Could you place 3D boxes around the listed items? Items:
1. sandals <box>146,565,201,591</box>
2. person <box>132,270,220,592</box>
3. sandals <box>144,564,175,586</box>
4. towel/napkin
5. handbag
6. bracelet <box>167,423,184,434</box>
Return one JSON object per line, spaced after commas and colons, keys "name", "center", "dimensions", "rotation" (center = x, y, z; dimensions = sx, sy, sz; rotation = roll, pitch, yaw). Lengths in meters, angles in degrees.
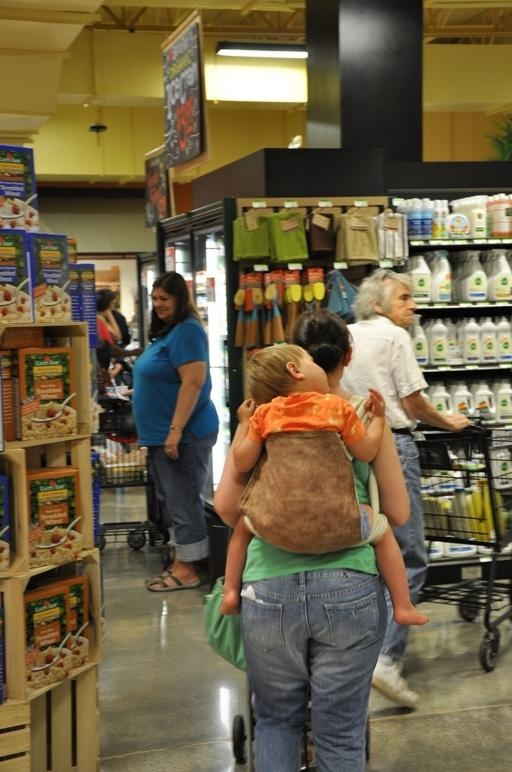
{"name": "sandals", "center": [-0.573, 1.363, 4.491], "dimensions": [0.364, 0.204, 0.168], "rotation": [2, -3, -2]}
{"name": "person", "center": [-0.544, 0.356, 4.317], "dimensions": [0.573, 2.167, 0.570], "rotation": [0, -2, -8]}
{"name": "sandals", "center": [-0.671, 1.361, 4.496], "dimensions": [0.223, 0.074, 0.127], "rotation": [-1, 1, -22]}
{"name": "towel/napkin", "center": [0.445, -1.024, 4.277], "dimensions": [1.200, 0.412, 0.275], "rotation": [0, -2, -5]}
{"name": "handbag", "center": [-0.063, 0.554, 1.537], "dimensions": [0.100, 0.200, 0.187], "rotation": [7, -6, -23]}
{"name": "bracelet", "center": [-0.512, 0.275, 4.135], "dimensions": [0.058, 0.073, 0.027], "rotation": [4, 38, 5]}
